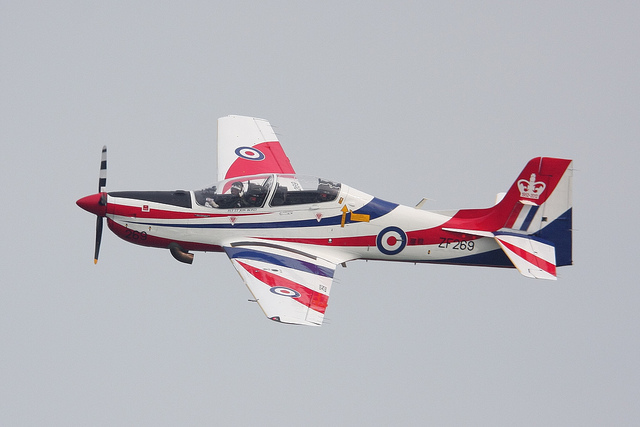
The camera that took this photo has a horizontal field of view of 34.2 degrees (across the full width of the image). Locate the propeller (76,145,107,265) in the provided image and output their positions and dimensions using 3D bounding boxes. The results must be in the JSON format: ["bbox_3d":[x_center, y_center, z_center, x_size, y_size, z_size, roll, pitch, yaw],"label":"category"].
[{"bbox_3d":[-4.862,-0.166,22.299,0.580,2.576,1.200,4,-18,-12],"label":"propeller"}]
